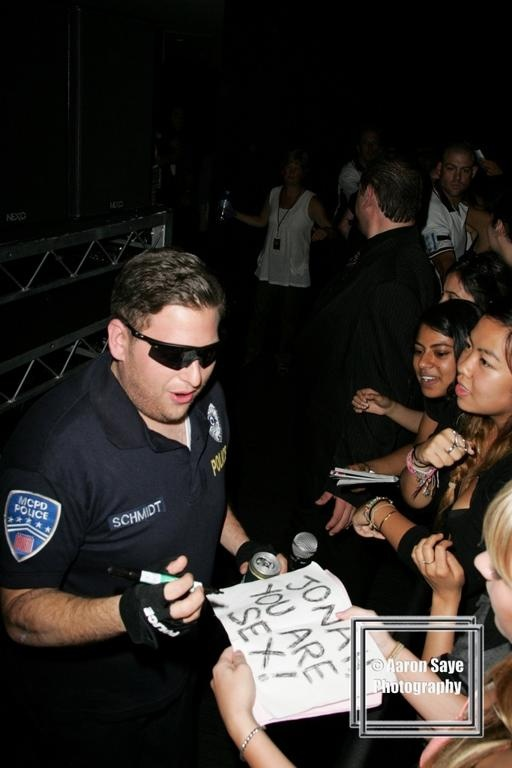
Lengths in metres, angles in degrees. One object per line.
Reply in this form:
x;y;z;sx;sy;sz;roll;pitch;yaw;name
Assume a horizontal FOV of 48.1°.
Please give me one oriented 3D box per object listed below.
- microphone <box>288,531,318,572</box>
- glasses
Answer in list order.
0.159;0.586;1.972;0.080;0.150;0.149;5;13;3;microphone
-0.268;-0.123;1.719;0.206;0.069;0.201;38;21;31;glasses
